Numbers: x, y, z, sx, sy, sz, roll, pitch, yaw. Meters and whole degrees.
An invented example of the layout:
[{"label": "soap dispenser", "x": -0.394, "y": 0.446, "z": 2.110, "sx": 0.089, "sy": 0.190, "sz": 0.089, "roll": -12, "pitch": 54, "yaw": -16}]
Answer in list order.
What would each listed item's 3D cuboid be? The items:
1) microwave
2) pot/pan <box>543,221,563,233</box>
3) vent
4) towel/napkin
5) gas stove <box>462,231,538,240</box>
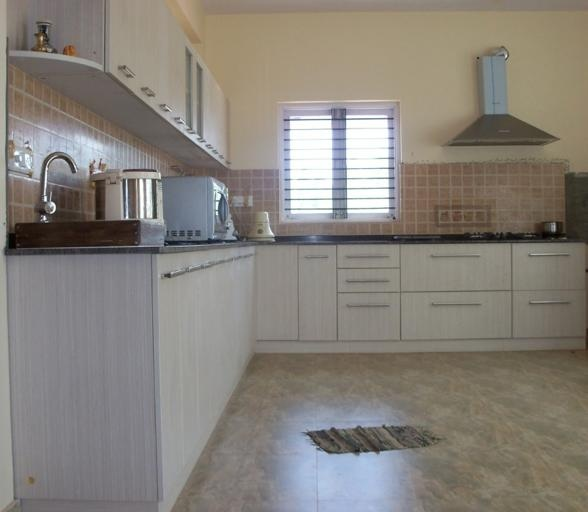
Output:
[{"label": "microwave", "x": -0.624, "y": -0.279, "z": 3.557, "sx": 0.323, "sy": 0.392, "sz": 0.569, "roll": -2, "pitch": 0, "yaw": 2}, {"label": "pot/pan", "x": 2.131, "y": -0.223, "z": 4.631, "sx": 0.113, "sy": 0.090, "sz": 0.119, "roll": 0, "pitch": 1, "yaw": -19}, {"label": "vent", "x": 1.663, "y": -1.201, "z": 4.849, "sx": 0.929, "sy": 1.058, "sz": 0.751, "roll": -1, "pitch": 0, "yaw": -3}, {"label": "towel/napkin", "x": 0.371, "y": 0.845, "z": 2.597, "sx": 0.611, "sy": 0.028, "sz": 0.254, "roll": -2, "pitch": 2, "yaw": -8}, {"label": "gas stove", "x": 1.632, "y": -0.164, "z": 4.458, "sx": 0.552, "sy": 0.062, "sz": 0.757, "roll": -1, "pitch": 3, "yaw": 22}]
